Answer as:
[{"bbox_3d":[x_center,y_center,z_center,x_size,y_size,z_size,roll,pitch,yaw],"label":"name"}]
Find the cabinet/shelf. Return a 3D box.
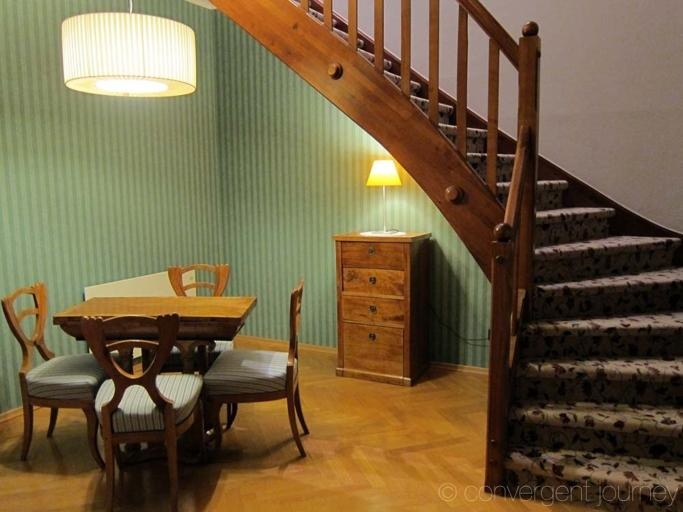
[{"bbox_3d":[0.391,0.438,5.121,0.736,1.240,0.635,2,6,28],"label":"cabinet/shelf"}]

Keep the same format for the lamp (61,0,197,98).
[{"bbox_3d":[-1.235,-1.127,3.459,0.630,0.669,0.615,1,4,14],"label":"lamp"}]

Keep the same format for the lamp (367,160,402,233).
[{"bbox_3d":[0.388,-0.536,5.104,0.308,0.687,0.431,0,-1,4],"label":"lamp"}]

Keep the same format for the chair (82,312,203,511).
[{"bbox_3d":[-1.192,0.930,3.481,0.658,1.173,0.659,0,-1,-14],"label":"chair"}]

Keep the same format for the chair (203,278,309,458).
[{"bbox_3d":[-0.591,0.772,4.004,0.718,1.170,0.648,0,-1,-3],"label":"chair"}]
